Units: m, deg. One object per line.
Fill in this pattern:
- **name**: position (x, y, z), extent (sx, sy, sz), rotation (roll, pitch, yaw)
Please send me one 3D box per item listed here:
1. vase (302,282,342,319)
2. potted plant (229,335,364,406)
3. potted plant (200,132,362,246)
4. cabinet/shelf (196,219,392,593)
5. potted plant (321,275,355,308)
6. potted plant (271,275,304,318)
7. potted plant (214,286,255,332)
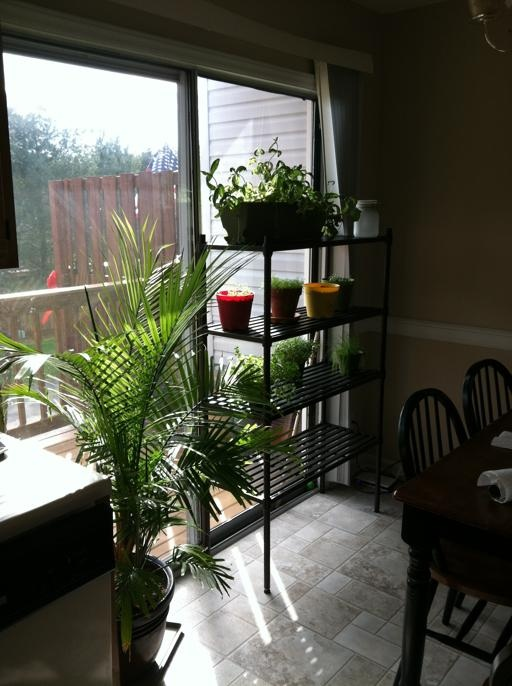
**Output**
- **vase**: position (0.308, -0.205, 2.311), extent (0.151, 0.130, 0.156), rotation (-8, 11, -39)
- **potted plant**: position (0.170, 0.106, 2.203), extent (0.280, 0.283, 0.662), rotation (12, 20, 40)
- **potted plant**: position (0.141, -0.593, 2.068), extent (0.554, 0.292, 0.466), rotation (12, 15, 37)
- **cabinet/shelf**: position (0.168, 0.300, 2.263), extent (0.421, 1.911, 1.194), rotation (10, 22, 34)
- **potted plant**: position (0.430, -0.268, 2.583), extent (0.158, 0.173, 0.147), rotation (-11, 15, -40)
- **potted plant**: position (0.133, -0.206, 2.138), extent (0.146, 0.147, 0.156), rotation (3, 10, 2)
- **potted plant**: position (-0.085, -0.147, 2.058), extent (0.154, 0.150, 0.152), rotation (-5, 17, -21)
